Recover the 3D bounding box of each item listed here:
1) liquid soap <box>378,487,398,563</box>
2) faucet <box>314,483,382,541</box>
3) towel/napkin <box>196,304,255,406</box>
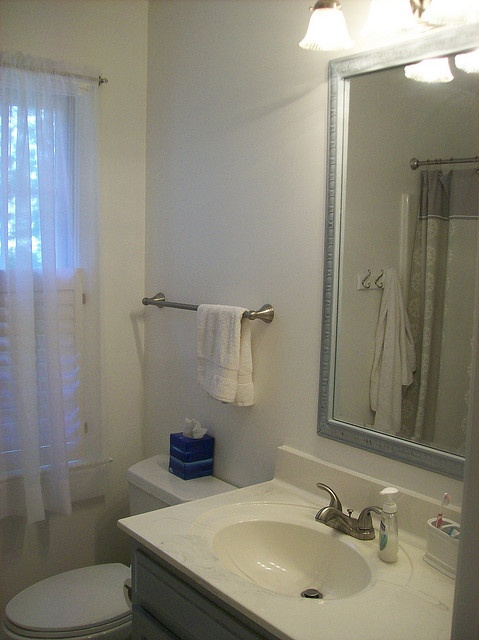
[{"bbox_3d":[0.292,0.420,1.085,0.034,0.135,0.053,4,11,1],"label":"liquid soap"},{"bbox_3d":[0.243,0.433,1.243,0.144,0.109,0.161,0,9,-20],"label":"faucet"},{"bbox_3d":[-0.065,0.102,1.618,0.236,0.297,0.110,3,4,44],"label":"towel/napkin"}]
